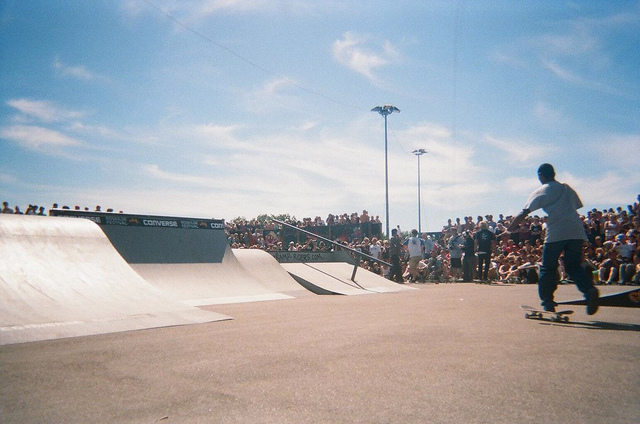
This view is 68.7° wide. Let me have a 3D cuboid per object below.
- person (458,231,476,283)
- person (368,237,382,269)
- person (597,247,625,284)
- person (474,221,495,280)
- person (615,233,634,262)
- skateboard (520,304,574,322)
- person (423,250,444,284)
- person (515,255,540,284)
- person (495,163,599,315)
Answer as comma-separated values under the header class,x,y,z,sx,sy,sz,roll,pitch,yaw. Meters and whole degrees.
class,x,y,z,sx,sy,sz,roll,pitch,yaw
person,4.800,1.472,15.277,0.447,1.649,0.348,4,7,40
person,2.040,1.596,17.536,0.429,1.083,1.644,0,5,7
person,7.758,1.453,12.463,0.425,0.600,0.986,-25,18,49
person,5.072,1.212,14.537,0.551,1.827,0.592,5,8,44
person,7.992,0.954,12.286,0.311,0.610,0.750,2,5,24
skateboard,3.127,1.366,6.510,0.282,0.181,1.019,6,-12,-41
person,4.041,2.001,16.772,0.662,1.022,0.501,18,-35,-14
person,6.003,1.681,13.541,0.717,1.002,0.751,5,-16,13
person,3.286,0.469,6.490,1.052,1.794,0.613,3,6,31
